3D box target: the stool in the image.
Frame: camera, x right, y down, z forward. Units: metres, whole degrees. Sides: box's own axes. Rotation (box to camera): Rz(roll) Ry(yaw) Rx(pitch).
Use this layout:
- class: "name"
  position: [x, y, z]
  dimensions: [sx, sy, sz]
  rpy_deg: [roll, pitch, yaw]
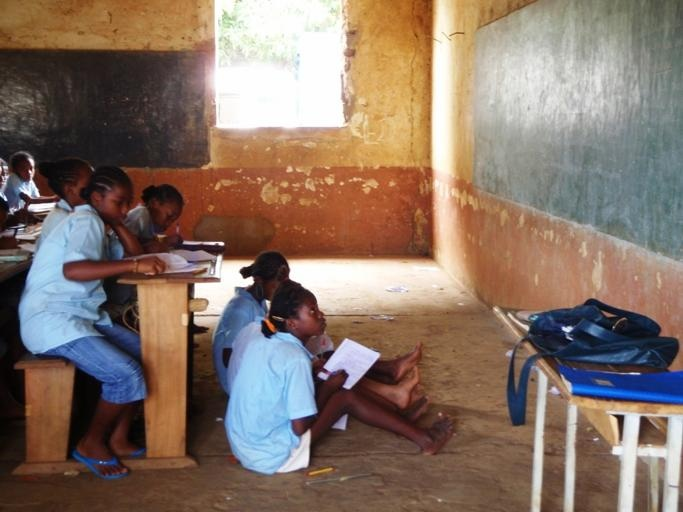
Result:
- class: "stool"
  position: [-1.398, 0.768, 2.839]
  dimensions: [0.295, 0.513, 0.566]
  rpy_deg: [2, -1, -5]

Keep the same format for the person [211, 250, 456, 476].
- class: "person"
  position: [0.010, 0.448, 3.204]
  dimensions: [1.322, 0.973, 0.706]
  rpy_deg: [-7, 21, -21]

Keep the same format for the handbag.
- class: "handbag"
  position: [0.915, 0.344, 2.236]
  dimensions: [0.550, 0.259, 0.516]
  rpy_deg: [-2, 8, -6]

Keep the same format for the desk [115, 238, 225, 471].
- class: "desk"
  position: [-0.876, 0.505, 2.980]
  dimensions: [0.415, 0.661, 1.094]
  rpy_deg: [-1, 5, -5]

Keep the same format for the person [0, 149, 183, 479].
- class: "person"
  position: [-1.172, 0.275, 2.876]
  dimensions: [0.643, 1.371, 0.576]
  rpy_deg: [4, 15, 13]
